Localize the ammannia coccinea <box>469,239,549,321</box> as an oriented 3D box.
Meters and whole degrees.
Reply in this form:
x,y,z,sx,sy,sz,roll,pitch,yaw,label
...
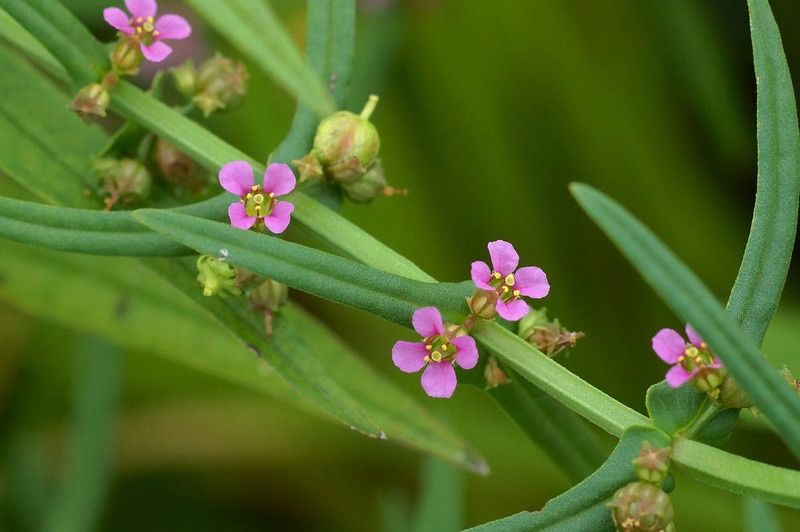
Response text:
x,y,z,sx,sy,sz,roll,pitch,yaw,label
0.235,0.048,1.648,0.174,0.202,0.094,2,-52,11,ammannia coccinea

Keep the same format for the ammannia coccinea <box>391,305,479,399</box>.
x,y,z,sx,sy,sz,roll,pitch,yaw,label
0.082,0.178,1.629,0.214,0.207,0.099,-13,15,47,ammannia coccinea

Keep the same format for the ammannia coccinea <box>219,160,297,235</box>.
x,y,z,sx,sy,sz,roll,pitch,yaw,label
-0.323,-0.148,1.719,0.207,0.091,0.198,2,-25,0,ammannia coccinea
